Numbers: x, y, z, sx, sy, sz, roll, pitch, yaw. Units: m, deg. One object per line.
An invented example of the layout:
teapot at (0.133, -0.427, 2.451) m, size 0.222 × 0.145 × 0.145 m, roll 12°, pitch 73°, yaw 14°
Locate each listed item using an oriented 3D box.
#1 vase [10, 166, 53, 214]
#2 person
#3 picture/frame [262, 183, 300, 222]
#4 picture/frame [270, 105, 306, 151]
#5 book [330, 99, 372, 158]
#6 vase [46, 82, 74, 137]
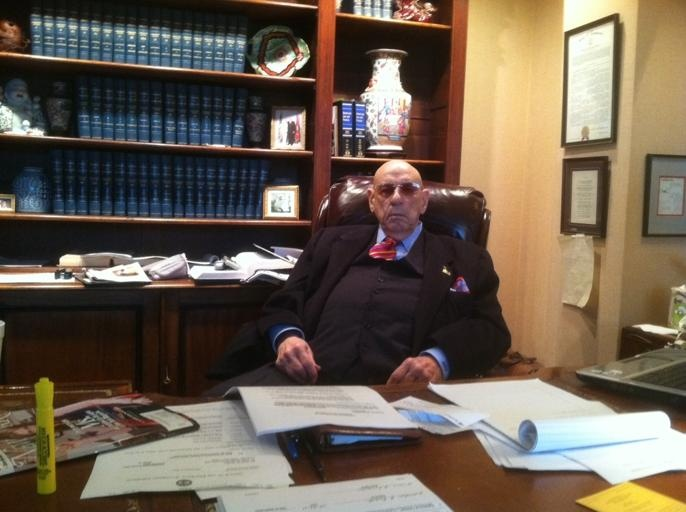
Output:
vase at (-1.523, -0.319, 2.717) m, size 0.201 × 0.220 × 0.195 m, roll -1°, pitch 3°, yaw -35°
person at (0.083, 0.044, 1.983) m, size 0.994 × 0.772 × 0.686 m, roll -1°, pitch 7°, yaw 0°
picture/frame at (-0.335, -0.279, 2.945) m, size 0.225 × 0.205 × 0.016 m, roll 3°, pitch -8°, yaw -14°
picture/frame at (-0.293, -0.677, 2.966) m, size 0.289 × 0.314 × 0.024 m, roll 1°, pitch -3°, yaw -10°
book at (0.044, -0.674, 3.035) m, size 0.294 × 0.382 × 0.292 m, roll 0°, pitch 4°, yaw 0°
vase at (-1.415, -0.735, 2.756) m, size 0.121 × 0.283 × 0.206 m, roll -5°, pitch 8°, yaw -27°
